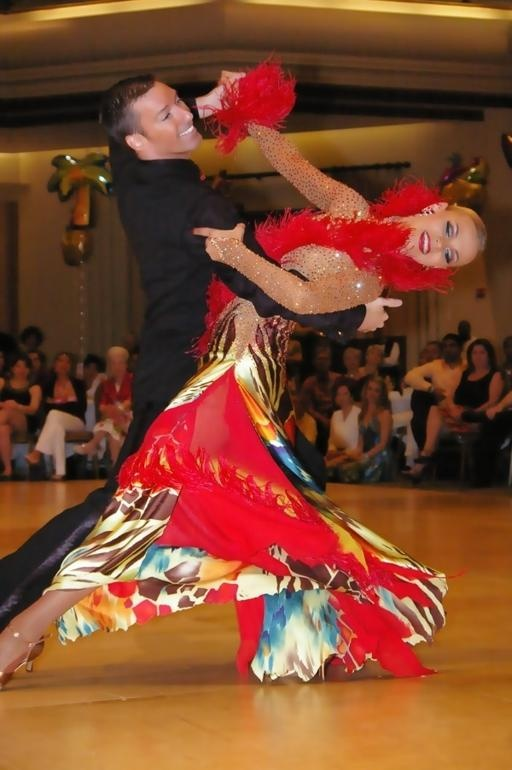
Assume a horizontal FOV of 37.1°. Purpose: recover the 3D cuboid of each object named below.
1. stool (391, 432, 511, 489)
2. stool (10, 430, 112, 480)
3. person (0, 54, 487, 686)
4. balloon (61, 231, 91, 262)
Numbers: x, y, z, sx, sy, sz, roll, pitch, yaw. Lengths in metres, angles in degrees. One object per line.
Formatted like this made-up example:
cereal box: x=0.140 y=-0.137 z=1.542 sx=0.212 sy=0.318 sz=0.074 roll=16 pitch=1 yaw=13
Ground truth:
stool: x=1.713 y=0.637 z=6.285 sx=0.498 sy=0.303 sz=0.702 roll=5 pitch=-6 yaw=-30
stool: x=-1.811 y=0.670 z=7.107 sx=0.842 sy=0.372 sz=0.493 roll=-2 pitch=-14 yaw=4
person: x=-0.008 y=-0.020 z=1.546 sx=0.929 sy=1.268 sz=0.440 roll=0 pitch=-5 yaw=-24
balloon: x=-2.050 y=-1.565 z=8.733 sx=0.332 sy=0.359 sz=0.135 roll=2 pitch=0 yaw=18
